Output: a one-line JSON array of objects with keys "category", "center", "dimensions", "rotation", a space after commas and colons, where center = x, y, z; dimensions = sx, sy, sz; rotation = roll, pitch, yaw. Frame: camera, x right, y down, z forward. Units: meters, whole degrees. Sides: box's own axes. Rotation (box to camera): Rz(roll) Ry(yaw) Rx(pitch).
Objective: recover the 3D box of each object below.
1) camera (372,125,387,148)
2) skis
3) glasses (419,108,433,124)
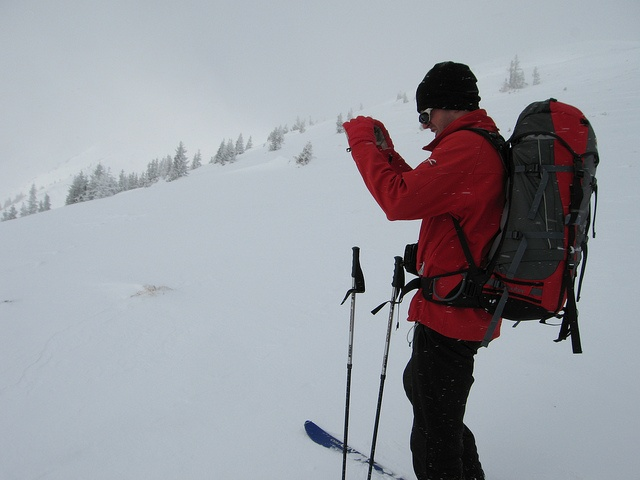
[{"category": "camera", "center": [0.704, -1.202, 6.518], "dimensions": [0.158, 0.235, 0.082], "rotation": [-10, 9, -10]}, {"category": "skis", "center": [0.444, 2.733, 7.251], "dimensions": [1.694, 0.098, 0.260], "rotation": [27, 47, 36]}, {"category": "glasses", "center": [1.186, -1.415, 6.416], "dimensions": [0.157, 0.056, 0.149], "rotation": [-24, -6, -32]}]
